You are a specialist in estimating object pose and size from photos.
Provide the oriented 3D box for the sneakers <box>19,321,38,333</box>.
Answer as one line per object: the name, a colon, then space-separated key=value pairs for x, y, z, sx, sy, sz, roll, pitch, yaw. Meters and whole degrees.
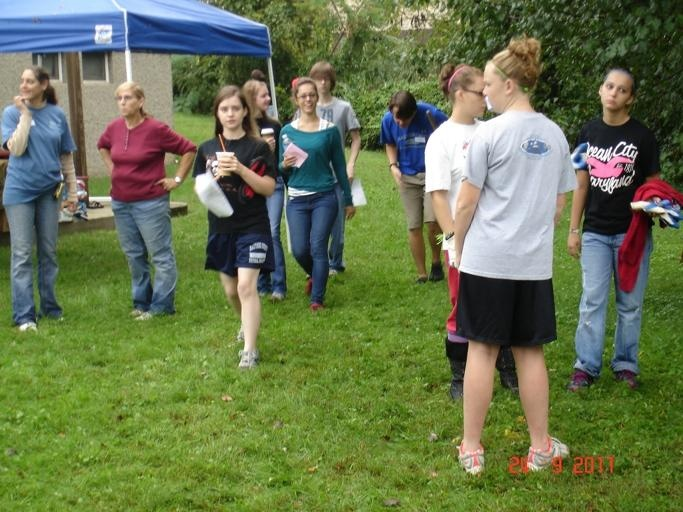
sneakers: x=-3.074 y=0.702 z=6.996 sx=0.052 sy=0.091 sz=0.154 roll=-3 pitch=8 yaw=40

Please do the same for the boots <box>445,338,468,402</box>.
boots: x=0.888 y=0.849 z=5.494 sx=0.185 sy=0.531 sz=0.454 roll=0 pitch=23 yaw=6

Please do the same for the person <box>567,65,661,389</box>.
person: x=2.074 y=-0.213 z=5.517 sx=0.626 sy=2.414 sz=0.636 roll=5 pitch=16 yaw=22

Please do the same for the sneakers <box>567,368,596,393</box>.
sneakers: x=1.868 y=0.984 z=5.597 sx=0.285 sy=0.115 sz=0.107 roll=-8 pitch=5 yaw=-40

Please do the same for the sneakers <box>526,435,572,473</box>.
sneakers: x=1.354 y=1.269 z=4.689 sx=0.358 sy=0.157 sz=0.136 roll=-19 pitch=21 yaw=-40

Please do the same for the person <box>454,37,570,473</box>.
person: x=1.103 y=0.023 z=4.507 sx=0.767 sy=2.721 sz=0.628 roll=1 pitch=15 yaw=8

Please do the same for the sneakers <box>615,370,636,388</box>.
sneakers: x=2.247 y=0.957 z=5.626 sx=0.164 sy=0.091 sz=0.073 roll=41 pitch=-5 yaw=41

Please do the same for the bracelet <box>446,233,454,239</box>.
bracelet: x=0.756 y=-0.145 z=4.994 sx=0.046 sy=0.052 sz=0.062 roll=1 pitch=15 yaw=7

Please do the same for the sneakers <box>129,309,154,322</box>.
sneakers: x=-2.081 y=0.616 z=7.406 sx=0.116 sy=0.068 sz=0.163 roll=-15 pitch=10 yaw=-43

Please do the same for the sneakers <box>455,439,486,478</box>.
sneakers: x=0.846 y=1.327 z=4.631 sx=0.118 sy=0.101 sz=0.231 roll=-4 pitch=16 yaw=4

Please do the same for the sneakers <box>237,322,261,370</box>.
sneakers: x=-0.809 y=0.817 z=6.238 sx=0.161 sy=0.168 sz=0.395 roll=-2 pitch=55 yaw=-1

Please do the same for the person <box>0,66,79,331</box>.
person: x=-3.126 y=-0.606 z=7.189 sx=0.483 sy=2.521 sz=1.104 roll=2 pitch=16 yaw=13

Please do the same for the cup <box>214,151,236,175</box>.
cup: x=-0.984 y=-0.777 z=5.897 sx=0.196 sy=0.207 sz=0.195 roll=-1 pitch=10 yaw=0
